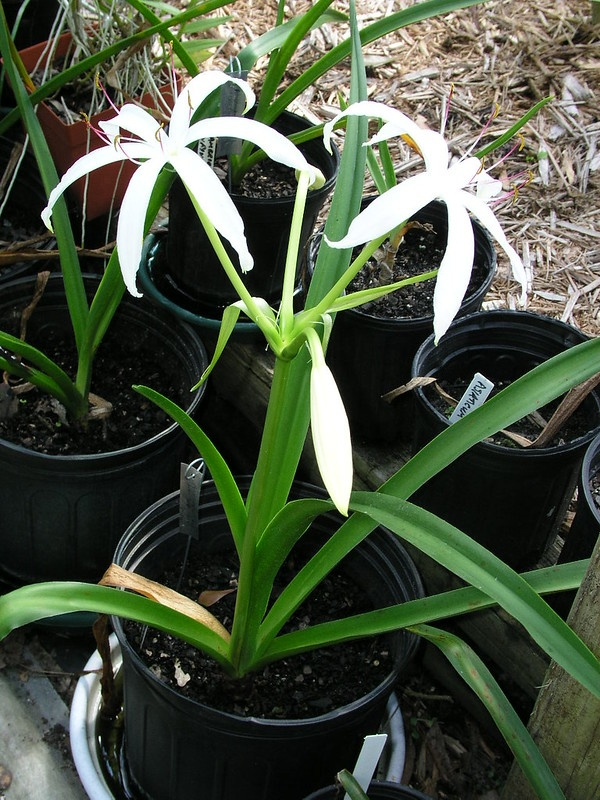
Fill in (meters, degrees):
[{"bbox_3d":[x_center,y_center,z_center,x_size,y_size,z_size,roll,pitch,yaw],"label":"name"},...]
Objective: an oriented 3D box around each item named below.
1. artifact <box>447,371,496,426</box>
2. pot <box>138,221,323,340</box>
[{"bbox_3d":[0.216,-0.003,0.856,0.033,0.084,0.045,19,30,12],"label":"artifact"},{"bbox_3d":[-0.185,-0.236,1.153,0.244,0.079,0.238,9,57,-13],"label":"pot"}]
